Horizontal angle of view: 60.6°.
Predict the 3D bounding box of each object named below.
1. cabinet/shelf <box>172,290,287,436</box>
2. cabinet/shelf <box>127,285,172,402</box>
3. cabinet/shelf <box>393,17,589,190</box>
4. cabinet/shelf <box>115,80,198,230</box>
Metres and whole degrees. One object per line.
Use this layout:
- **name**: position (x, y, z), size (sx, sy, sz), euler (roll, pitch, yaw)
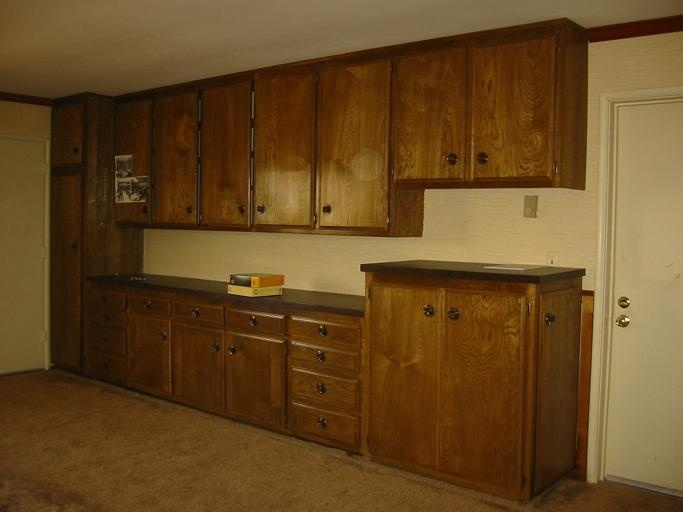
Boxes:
- **cabinet/shelf**: position (-0.822, 0.817, 4.690), size (1.193, 0.929, 0.464), euler (5, 8, 28)
- **cabinet/shelf**: position (-1.680, 0.733, 5.008), size (0.653, 0.853, 0.164), euler (7, 12, 40)
- **cabinet/shelf**: position (0.960, -0.931, 3.844), size (1.232, 0.988, 0.441), euler (7, 11, 41)
- **cabinet/shelf**: position (-1.640, -0.911, 5.172), size (1.193, 1.166, 0.428), euler (2, 1, 40)
